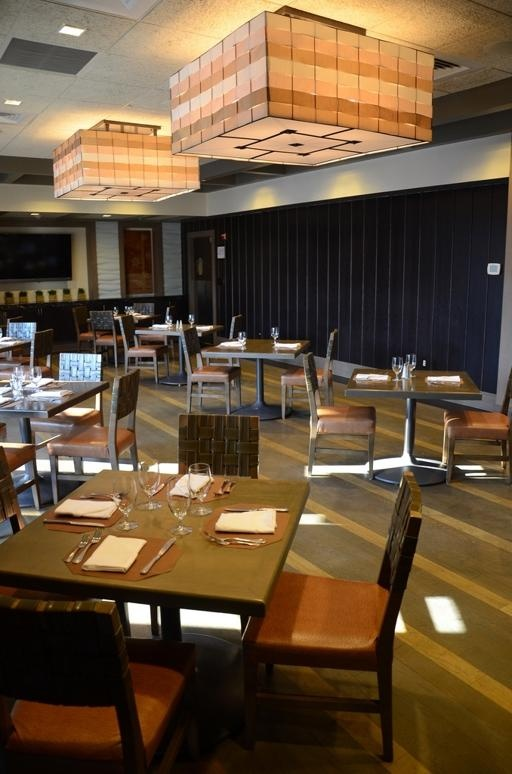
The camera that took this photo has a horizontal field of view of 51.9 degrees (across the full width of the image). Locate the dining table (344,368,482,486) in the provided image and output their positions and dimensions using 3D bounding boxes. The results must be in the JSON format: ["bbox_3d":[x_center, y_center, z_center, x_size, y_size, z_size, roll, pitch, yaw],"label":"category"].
[{"bbox_3d":[1.225,0.197,4.373,0.971,0.839,0.997,0,20,2],"label":"dining table"}]

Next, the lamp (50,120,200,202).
[{"bbox_3d":[-1.316,-2.282,5.242,1.240,0.795,1.131,-4,10,-24],"label":"lamp"}]

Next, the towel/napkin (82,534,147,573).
[{"bbox_3d":[-0.377,0.444,1.415,0.127,0.023,0.209,1,9,5],"label":"towel/napkin"}]

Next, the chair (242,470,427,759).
[{"bbox_3d":[0.206,0.673,2.018,0.746,1.140,0.684,4,13,8],"label":"chair"}]

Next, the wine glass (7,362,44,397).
[{"bbox_3d":[-1.761,-0.054,4.009,0.104,0.139,0.367,1,8,-6],"label":"wine glass"}]

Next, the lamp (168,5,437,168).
[{"bbox_3d":[0.254,-1.622,2.956,1.225,0.684,1.096,-6,11,-33],"label":"lamp"}]
